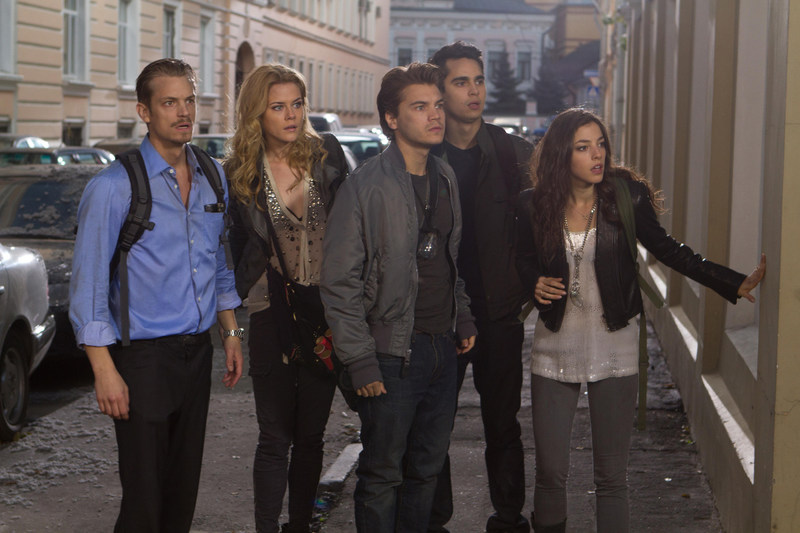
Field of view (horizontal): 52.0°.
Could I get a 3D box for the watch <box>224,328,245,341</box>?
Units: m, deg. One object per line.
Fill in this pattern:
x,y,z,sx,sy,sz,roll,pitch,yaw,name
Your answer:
-0.921,0.397,4.531,0.106,0.095,0.110,3,-14,-17,watch

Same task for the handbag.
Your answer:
-0.555,0.356,4.605,0.353,0.662,0.154,-12,-10,-17,handbag
